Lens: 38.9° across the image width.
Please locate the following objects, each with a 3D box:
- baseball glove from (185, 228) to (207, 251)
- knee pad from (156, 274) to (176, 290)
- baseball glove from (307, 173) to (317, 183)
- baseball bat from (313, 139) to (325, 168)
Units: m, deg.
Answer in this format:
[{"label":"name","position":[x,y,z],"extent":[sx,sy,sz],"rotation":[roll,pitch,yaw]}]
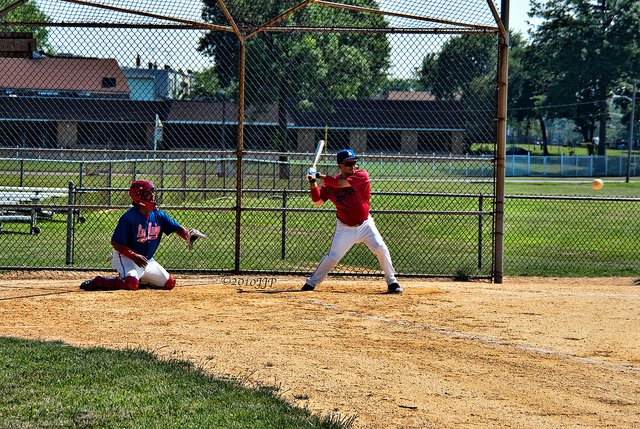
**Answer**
[{"label":"baseball glove","position":[-2.285,0.482,16.933],"extent":[0.441,0.267,0.342],"rotation":[1,-1,-1]},{"label":"knee pad","position":[-2.858,1.248,16.823],"extent":[0.275,0.170,0.200],"rotation":[-17,19,-5]},{"label":"baseball glove","position":[-0.156,-0.673,16.707],"extent":[0.116,0.161,0.104],"rotation":[7,6,4]},{"label":"baseball bat","position":[-0.060,-1.194,17.255],"extent":[0.084,0.656,0.127],"rotation":[0,-32,46]}]
